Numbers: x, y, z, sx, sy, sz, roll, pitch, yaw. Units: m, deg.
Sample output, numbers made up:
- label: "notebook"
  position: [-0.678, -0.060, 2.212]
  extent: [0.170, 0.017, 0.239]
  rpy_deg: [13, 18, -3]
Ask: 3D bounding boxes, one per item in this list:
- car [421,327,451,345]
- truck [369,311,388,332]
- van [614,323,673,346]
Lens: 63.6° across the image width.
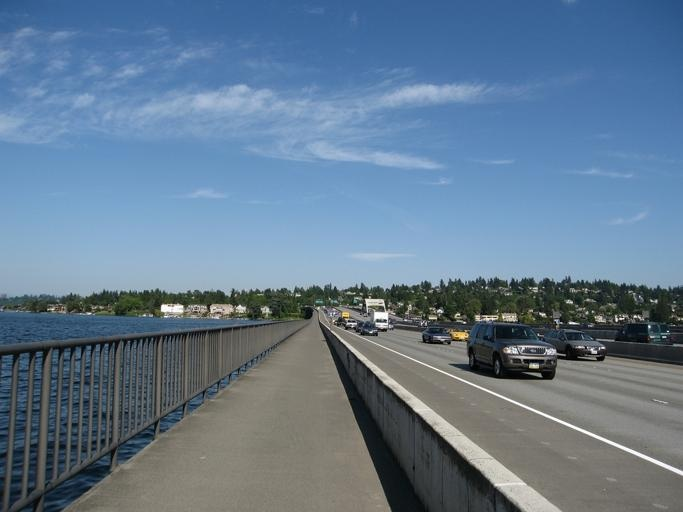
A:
- label: "car"
  position: [7.996, 6.750, 46.357]
  extent: [2.192, 1.301, 3.031]
  rpy_deg: [0, -7, 7]
- label: "truck"
  position: [5.256, 8.813, 75.097]
  extent: [1.780, 1.800, 3.228]
  rpy_deg: [1, -10, -5]
- label: "van"
  position: [21.023, 5.349, 38.674]
  extent: [2.414, 2.190, 3.707]
  rpy_deg: [2, -5, 1]
